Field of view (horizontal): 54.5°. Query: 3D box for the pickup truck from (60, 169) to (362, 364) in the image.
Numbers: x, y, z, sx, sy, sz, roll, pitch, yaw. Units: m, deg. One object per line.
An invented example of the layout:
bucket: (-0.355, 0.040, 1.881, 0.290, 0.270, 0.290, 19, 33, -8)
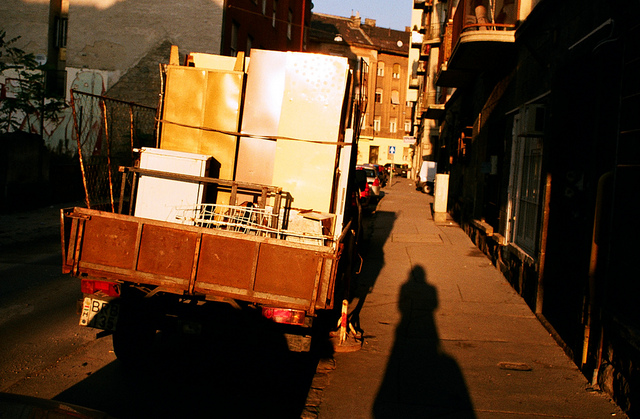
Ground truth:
pickup truck: (-2.202, 0.686, 9.739, 2.613, 2.710, 6.611, 0, -1, -3)

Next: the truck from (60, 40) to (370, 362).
truck: (-1.590, -0.260, 10.190, 4.222, 4.938, 3.386, 6, 9, 6)
